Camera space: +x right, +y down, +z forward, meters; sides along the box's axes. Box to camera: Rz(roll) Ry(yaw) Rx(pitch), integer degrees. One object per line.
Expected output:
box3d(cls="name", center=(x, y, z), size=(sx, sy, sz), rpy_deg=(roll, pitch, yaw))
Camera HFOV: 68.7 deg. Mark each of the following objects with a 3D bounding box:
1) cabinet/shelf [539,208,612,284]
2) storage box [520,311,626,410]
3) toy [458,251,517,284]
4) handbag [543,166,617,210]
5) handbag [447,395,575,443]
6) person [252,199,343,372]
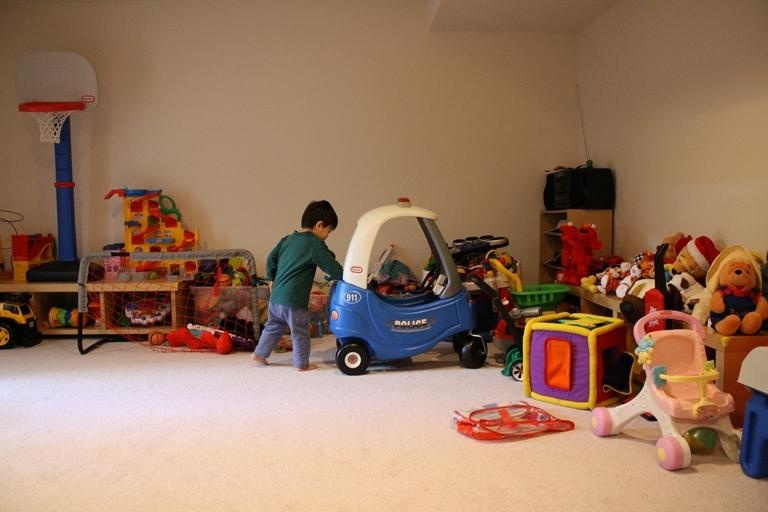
box3d(cls="cabinet/shelf", center=(1.775, -0.208, 5.471), size=(0.241, 0.457, 0.450), rpy_deg=(-12, 9, -27))
box3d(cls="storage box", center=(1.329, 0.730, 3.942), size=(0.717, 0.553, 0.740), rpy_deg=(1, -1, -2))
box3d(cls="toy", center=(0.899, 0.097, 4.653), size=(0.389, 0.188, 0.297), rpy_deg=(-3, 6, -21))
box3d(cls="handbag", center=(1.857, -0.632, 5.438), size=(0.395, 0.374, 0.614), rpy_deg=(0, 1, -17))
box3d(cls="handbag", center=(0.794, 1.003, 3.517), size=(0.754, 0.100, 0.355), rpy_deg=(-4, 15, -10))
box3d(cls="person", center=(-0.712, 0.235, 4.456), size=(0.727, 1.272, 0.556), rpy_deg=(-4, 15, -12))
